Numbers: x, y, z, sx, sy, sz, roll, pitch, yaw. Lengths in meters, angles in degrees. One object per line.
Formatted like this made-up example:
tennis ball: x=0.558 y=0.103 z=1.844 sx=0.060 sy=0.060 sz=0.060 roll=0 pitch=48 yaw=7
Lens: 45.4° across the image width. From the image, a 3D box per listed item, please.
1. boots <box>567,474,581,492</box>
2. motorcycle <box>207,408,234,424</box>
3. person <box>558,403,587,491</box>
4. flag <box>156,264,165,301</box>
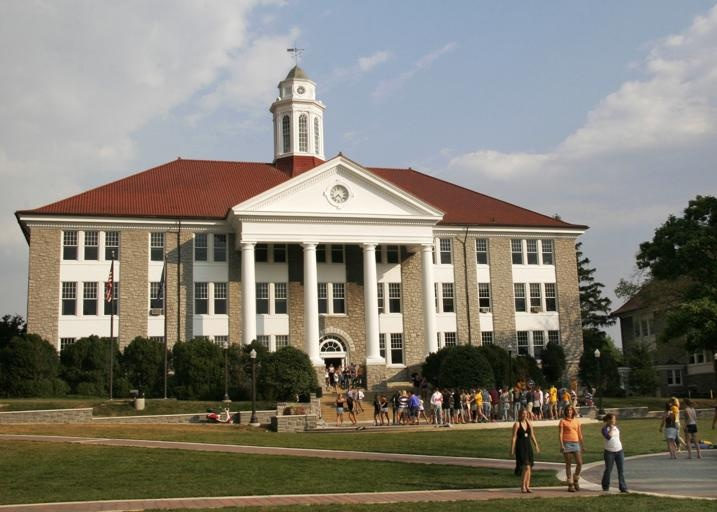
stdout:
boots: x=7.602 y=7.968 z=30.275 sx=0.409 sy=0.536 sz=0.770 roll=-4 pitch=-12 yaw=13
motorcycle: x=-8.268 y=9.489 z=51.098 sx=2.080 sy=1.083 sz=0.661 roll=2 pitch=-6 yaw=-24
person: x=7.544 y=6.760 z=30.335 sx=0.727 sy=2.932 sz=1.502 roll=-4 pitch=-12 yaw=13
flag: x=-14.605 y=1.983 z=63.086 sx=0.417 sy=2.672 sz=0.505 roll=-8 pitch=-14 yaw=27
